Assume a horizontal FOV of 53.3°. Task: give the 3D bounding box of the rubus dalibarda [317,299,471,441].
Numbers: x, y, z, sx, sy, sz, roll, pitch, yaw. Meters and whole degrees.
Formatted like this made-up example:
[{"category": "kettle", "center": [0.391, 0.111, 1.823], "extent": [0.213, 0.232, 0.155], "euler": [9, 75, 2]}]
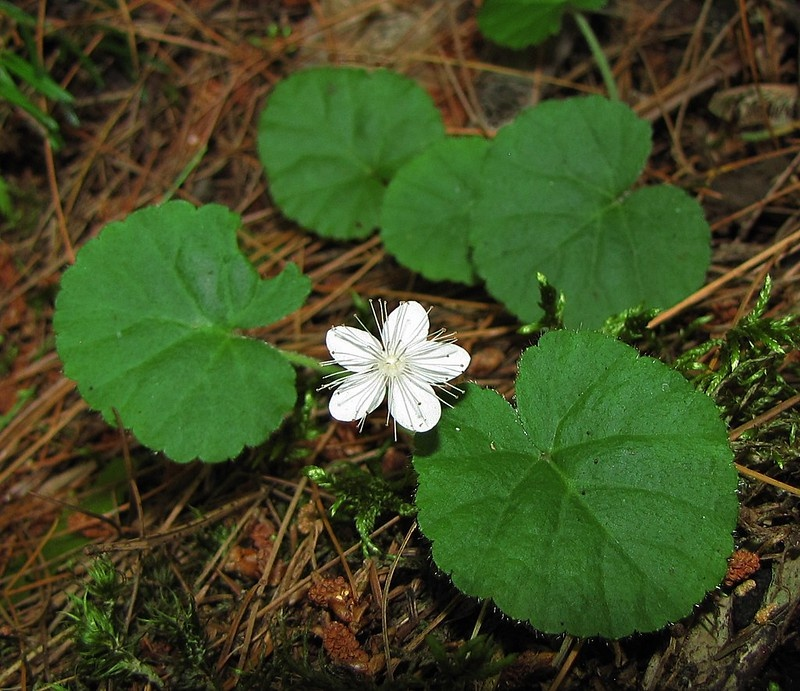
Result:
[{"category": "rubus dalibarda", "center": [-0.038, 0.082, 3.141], "extent": [0.584, 0.193, 0.587], "euler": [-4, 17, -23]}]
